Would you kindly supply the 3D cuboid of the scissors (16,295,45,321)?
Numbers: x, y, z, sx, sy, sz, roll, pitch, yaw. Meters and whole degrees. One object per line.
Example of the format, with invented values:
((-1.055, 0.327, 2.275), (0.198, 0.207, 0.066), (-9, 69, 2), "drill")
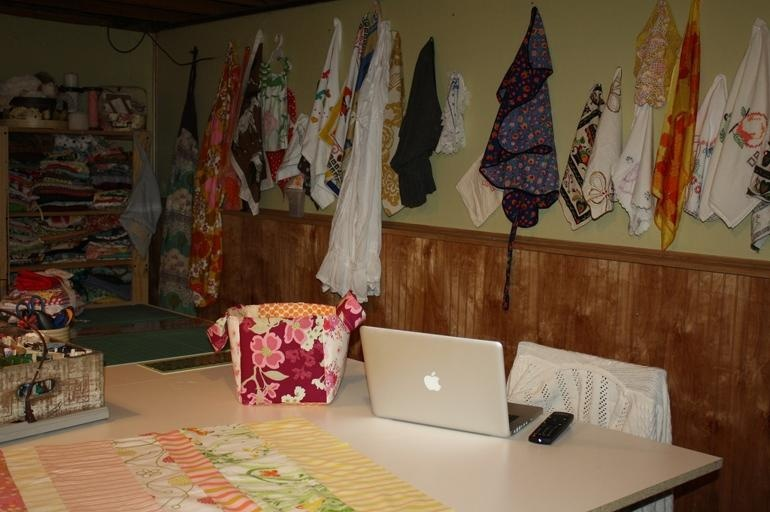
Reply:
((-1.725, 0.248, 2.823), (0.120, 0.106, 0.177), (0, 3, -28), "scissors")

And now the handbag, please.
((-0.348, 0.313, 2.275), (0.570, 0.412, 0.448), (0, 10, 5), "handbag")

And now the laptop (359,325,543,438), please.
((0.239, 0.401, 2.050), (0.545, 0.348, 0.490), (1, 5, 16), "laptop")

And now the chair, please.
((0.790, 0.701, 2.404), (0.535, 0.784, 0.585), (-2, -23, 32), "chair")
